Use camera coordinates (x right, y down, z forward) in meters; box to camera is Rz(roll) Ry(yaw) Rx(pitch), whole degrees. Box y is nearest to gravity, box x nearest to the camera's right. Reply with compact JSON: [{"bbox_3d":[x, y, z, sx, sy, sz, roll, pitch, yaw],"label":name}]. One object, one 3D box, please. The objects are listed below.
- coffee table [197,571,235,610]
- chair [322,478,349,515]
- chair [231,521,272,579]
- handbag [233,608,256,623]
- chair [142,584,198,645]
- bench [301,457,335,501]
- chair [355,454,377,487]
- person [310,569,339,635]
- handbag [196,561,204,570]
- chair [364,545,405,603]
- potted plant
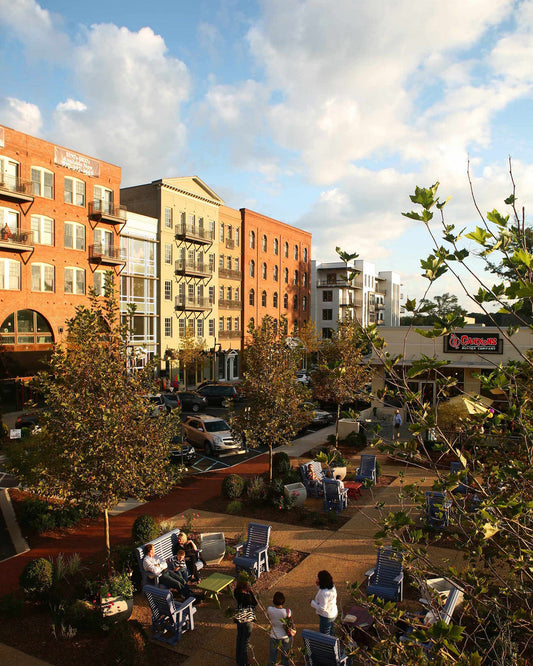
[{"bbox_3d":[-0.924,4.463,10.477,0.445,0.307,0.671,0,3,20],"label":"coffee table"},{"bbox_3d":[1.779,4.194,15.404,0.771,0.967,0.798,0,-2,27],"label":"chair"},{"bbox_3d":[-0.290,4.313,11.715,0.790,0.792,0.781,0,2,-9],"label":"chair"},{"bbox_3d":[-0.317,4.019,8.447,0.281,0.199,0.150,-1,-2,-4],"label":"handbag"},{"bbox_3d":[-1.555,4.402,9.630,0.742,0.852,0.902,-2,-1,30],"label":"chair"},{"bbox_3d":[1.459,4.221,17.306,0.867,1.081,0.867,0,2,38],"label":"bench"},{"bbox_3d":[3.081,4.176,18.165,0.647,0.781,2.041,-2,-2,10],"label":"chair"},{"bbox_3d":[0.874,4.148,8.800,0.395,1.171,0.406,-1,-2,44],"label":"person"},{"bbox_3d":[-1.297,4.438,11.356,0.051,0.184,0.209,-13,-17,38],"label":"handbag"},{"bbox_3d":[2.071,4.222,10.223,0.616,0.798,0.617,2,-3,27],"label":"chair"},{"bbox_3d":[-2.679,4.445,9.881,0.954,0.652,0.934,4,-4,-11],"label":"potted plant"}]
